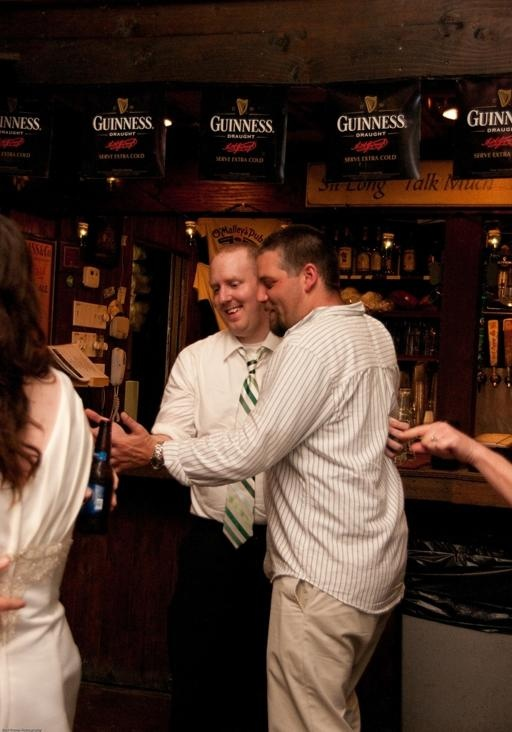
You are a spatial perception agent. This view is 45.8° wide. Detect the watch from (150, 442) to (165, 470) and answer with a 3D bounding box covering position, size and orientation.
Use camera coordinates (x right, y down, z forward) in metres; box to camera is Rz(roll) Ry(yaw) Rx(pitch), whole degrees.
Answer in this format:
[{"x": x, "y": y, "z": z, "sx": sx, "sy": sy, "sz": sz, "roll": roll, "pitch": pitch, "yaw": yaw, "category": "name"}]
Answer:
[{"x": -0.266, "y": 0.243, "z": 1.644, "sx": 0.026, "sy": 0.070, "sz": 0.068, "roll": 4, "pitch": 23, "yaw": -10, "category": "watch"}]
